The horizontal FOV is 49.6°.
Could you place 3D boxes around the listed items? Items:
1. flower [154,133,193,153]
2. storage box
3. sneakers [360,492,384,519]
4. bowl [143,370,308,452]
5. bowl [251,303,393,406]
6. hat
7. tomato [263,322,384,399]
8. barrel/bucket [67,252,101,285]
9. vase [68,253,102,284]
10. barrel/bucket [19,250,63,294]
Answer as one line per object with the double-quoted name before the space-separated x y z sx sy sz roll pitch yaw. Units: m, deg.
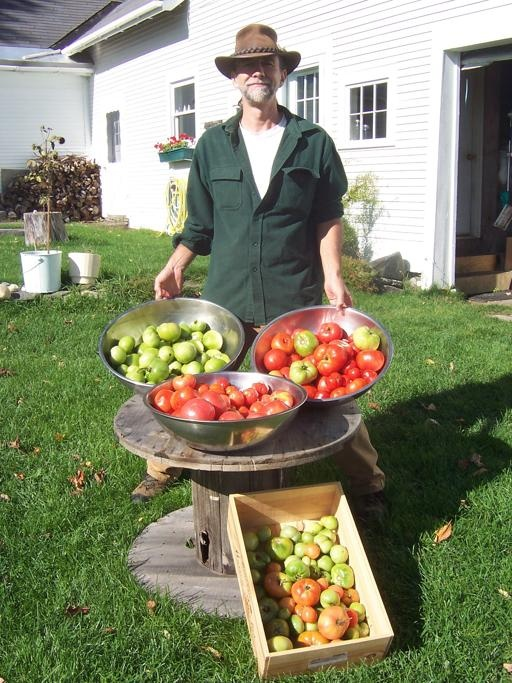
"flower" -1.957 -4.702 13.110 0.777 0.347 0.787 -6 14 47
"storage box" 0.152 0.820 1.916 0.449 0.428 0.650 -3 15 -7
"sneakers" 0.581 0.828 2.788 0.124 0.115 0.114 3 -14 -3
"bowl" -0.103 0.237 1.788 0.500 0.203 0.455 -1 14 0
"bowl" 0.335 -0.029 2.228 0.463 0.159 0.451 -7 46 7
"hat" -0.008 -1.333 2.463 0.313 0.119 0.320 -3 0 2
"tomato" 0.273 0.072 2.173 0.344 0.135 0.330 -1 30 9
"barrel/bucket" -2.254 -0.975 7.482 0.463 0.360 0.424 0 3 0
"vase" -2.337 -0.971 7.446 0.447 0.353 0.415 1 2 26
"barrel/bucket" -2.679 -0.892 7.166 0.580 0.515 0.558 0 6 0
